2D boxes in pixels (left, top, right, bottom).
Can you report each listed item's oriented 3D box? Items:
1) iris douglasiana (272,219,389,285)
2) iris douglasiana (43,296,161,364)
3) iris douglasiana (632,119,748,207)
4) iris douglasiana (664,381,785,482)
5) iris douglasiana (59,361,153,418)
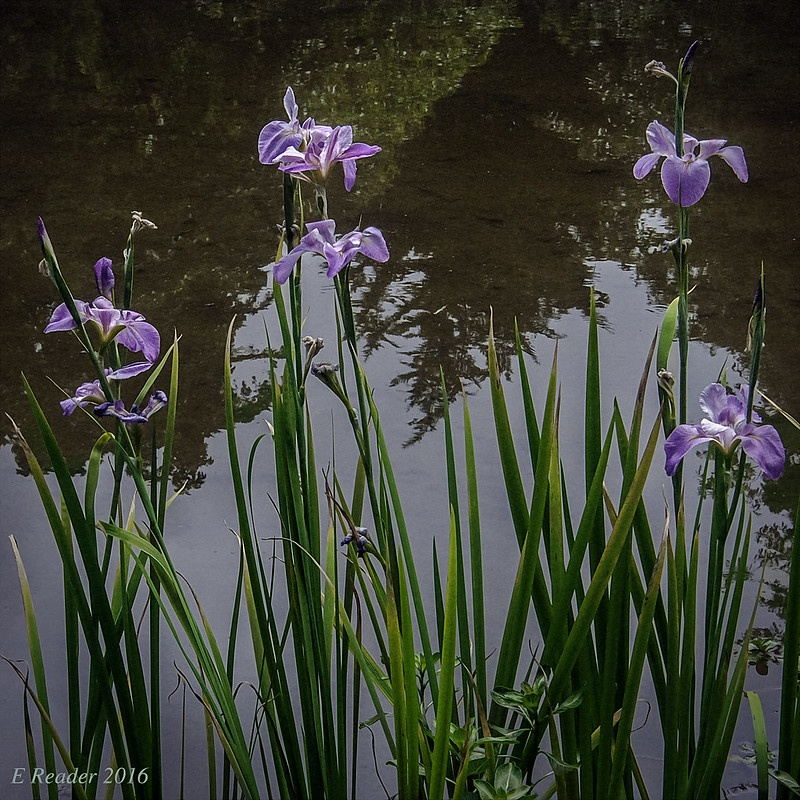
[{"bbox_3d":[-0.090,-0.198,1.501,0.162,0.091,0.167,0,0,-18],"label":"iris douglasiana"},{"bbox_3d":[-0.373,-0.081,1.424,0.104,0.064,0.135,-2,-6,20],"label":"iris douglasiana"},{"bbox_3d":[0.377,-0.312,1.456,0.124,0.067,0.130,-2,-17,38],"label":"iris douglasiana"},{"bbox_3d":[0.414,0.038,1.445,0.143,0.118,0.089,0,0,16],"label":"iris douglasiana"},{"bbox_3d":[-0.391,-0.015,1.461,0.091,0.064,0.205,0,0,-31],"label":"iris douglasiana"}]
